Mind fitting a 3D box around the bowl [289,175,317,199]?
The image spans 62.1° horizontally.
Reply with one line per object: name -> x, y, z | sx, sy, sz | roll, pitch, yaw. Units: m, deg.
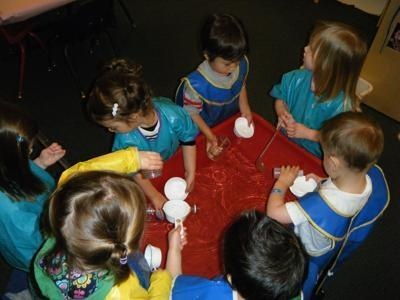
bowl -> 0.647, 0.170, 2.078 | 0.207, 0.113, 0.161 | 11, 40, 10

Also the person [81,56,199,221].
person -> -0.308, -0.100, 2.159 | 0.377, 0.946, 0.710 | 20, 63, 42

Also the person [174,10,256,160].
person -> 0.177, -0.273, 2.593 | 0.549, 1.527, 0.526 | -31, 63, -18

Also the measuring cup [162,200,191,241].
measuring cup -> -0.133, 0.413, 1.917 | 0.137, 0.136, 0.220 | -7, 41, -25

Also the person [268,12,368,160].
person -> 0.767, -0.364, 2.428 | 0.502, 1.035, 0.533 | 23, 47, 16

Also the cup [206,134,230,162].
cup -> 0.110, -0.016, 2.256 | 0.140, 0.143, 0.140 | 2, 41, -2

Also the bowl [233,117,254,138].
bowl -> 0.299, -0.137, 2.302 | 0.131, 0.054, 0.136 | 11, 66, -25
